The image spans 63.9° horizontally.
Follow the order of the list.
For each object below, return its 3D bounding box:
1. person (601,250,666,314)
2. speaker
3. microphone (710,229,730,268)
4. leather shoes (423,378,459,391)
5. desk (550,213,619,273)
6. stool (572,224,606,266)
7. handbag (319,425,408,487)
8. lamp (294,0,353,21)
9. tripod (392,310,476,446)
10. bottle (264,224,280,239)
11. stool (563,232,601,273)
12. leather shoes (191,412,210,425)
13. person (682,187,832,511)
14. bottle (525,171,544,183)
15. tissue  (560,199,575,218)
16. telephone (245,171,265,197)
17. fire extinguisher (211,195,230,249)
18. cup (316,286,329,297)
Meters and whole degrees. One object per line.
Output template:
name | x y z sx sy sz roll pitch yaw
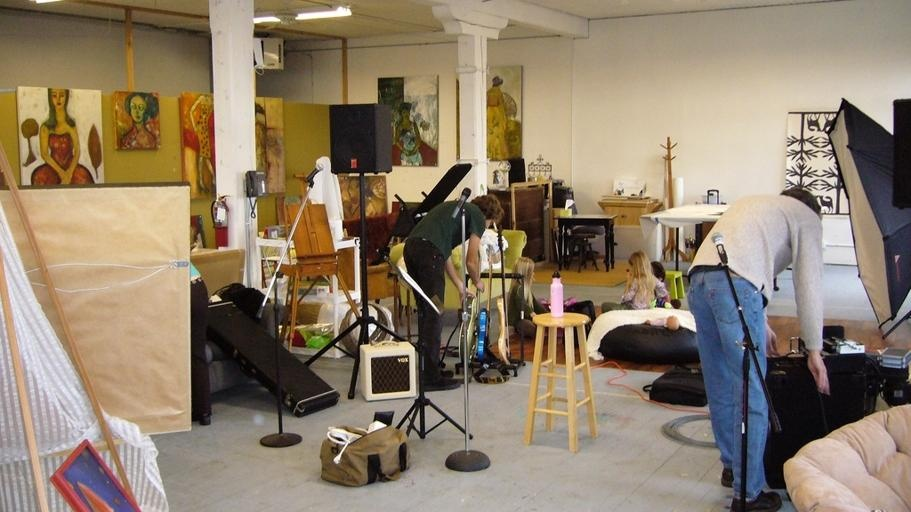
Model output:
person | 2.301 0.303 9.203 0.703 0.782 0.808 3 12 33
speaker | -1.026 -1.266 7.907 0.673 0.758 0.359 -5 10 -9
microphone | 2.062 -0.056 5.741 0.102 0.101 0.324 30 36 -19
leather shoes | -0.159 1.383 7.894 0.388 0.136 0.140 -2 2 -12
desk | 2.553 -0.251 14.370 1.122 1.013 1.120 0 -1 15
stool | 2.504 -0.191 14.193 0.771 0.827 0.779 0 3 1
handbag | -0.796 1.718 6.374 0.620 0.353 0.487 2 1 27
lamp | -2.434 -4.522 13.358 1.238 0.186 0.292 -1 21 20
tripod | -0.219 1.272 7.024 0.701 0.904 1.375 -4 10 -2
bottle | -2.364 -0.293 9.304 0.250 0.234 0.180 2 4 9
stool | 2.476 -0.080 14.215 0.747 0.777 0.736 -1 -1 0
leather shoes | -2.507 1.622 7.209 0.153 0.095 0.113 -1 -2 19
person | 2.488 0.751 6.000 1.002 2.540 0.748 -7 11 -17
bottle | 1.672 -1.658 15.410 0.406 0.292 0.231 -4 -8 44
tissue  | 2.312 -0.959 14.984 0.388 0.421 0.381 1 -3 22
telephone | -2.507 -0.904 9.193 0.267 0.349 0.192 -7 11 -23
fire extinguisher | -2.979 -0.418 9.192 0.252 0.639 0.188 0 11 17
cup | -1.734 0.477 9.542 0.132 0.082 0.136 -1 3 0
